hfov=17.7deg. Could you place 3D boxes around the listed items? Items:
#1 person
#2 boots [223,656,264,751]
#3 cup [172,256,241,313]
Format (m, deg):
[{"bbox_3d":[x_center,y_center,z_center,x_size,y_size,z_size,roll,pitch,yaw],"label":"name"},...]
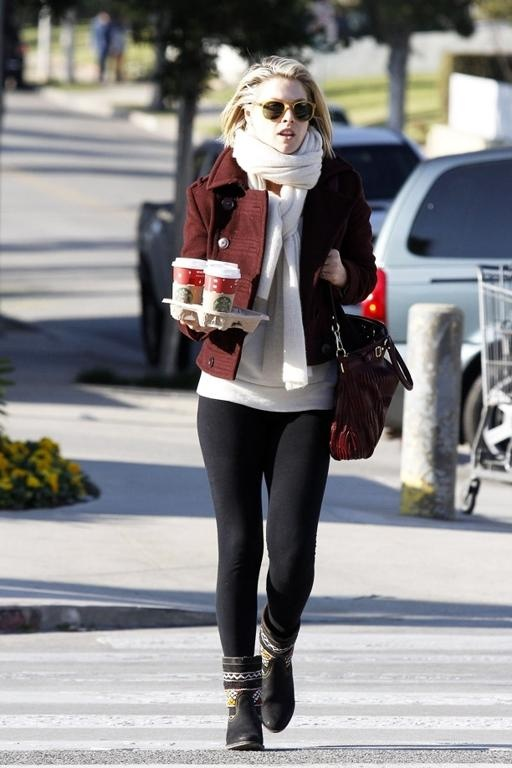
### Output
[{"bbox_3d":[0.025,0.040,4.859,0.539,1.972,0.649,5,13,16],"label":"person"},{"bbox_3d":[-0.032,0.939,4.781,0.121,0.313,0.136,2,12,-1],"label":"boots"},{"bbox_3d":[-0.121,-0.290,4.667,0.168,0.138,0.254,-10,17,-43],"label":"cup"}]
